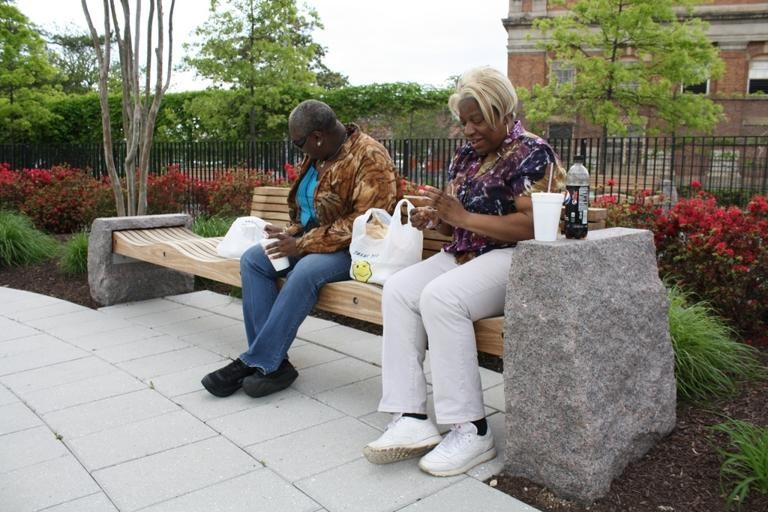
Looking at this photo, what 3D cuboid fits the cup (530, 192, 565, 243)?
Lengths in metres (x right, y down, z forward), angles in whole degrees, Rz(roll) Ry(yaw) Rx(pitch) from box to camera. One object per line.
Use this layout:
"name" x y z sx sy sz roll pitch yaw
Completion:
"cup" 0.940 -0.238 3.312 0.181 0.273 0.252 4 11 15

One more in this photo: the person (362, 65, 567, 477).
"person" 0.458 0.054 3.612 1.154 2.448 0.802 -3 11 -19

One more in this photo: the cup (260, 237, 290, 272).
"cup" -0.843 -0.015 4.415 0.165 0.240 0.159 -30 5 3

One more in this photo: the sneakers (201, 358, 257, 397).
"sneakers" -1.167 0.911 4.409 0.190 0.243 0.554 27 12 28

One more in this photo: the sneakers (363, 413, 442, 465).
"sneakers" 0.118 1.105 3.556 0.553 0.216 0.244 -9 44 -26

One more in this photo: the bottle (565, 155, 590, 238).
"bottle" 1.126 -0.347 3.311 0.137 0.475 0.228 4 11 17

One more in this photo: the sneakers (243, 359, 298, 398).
"sneakers" -0.889 0.913 4.378 0.524 0.178 0.217 -17 -26 36
